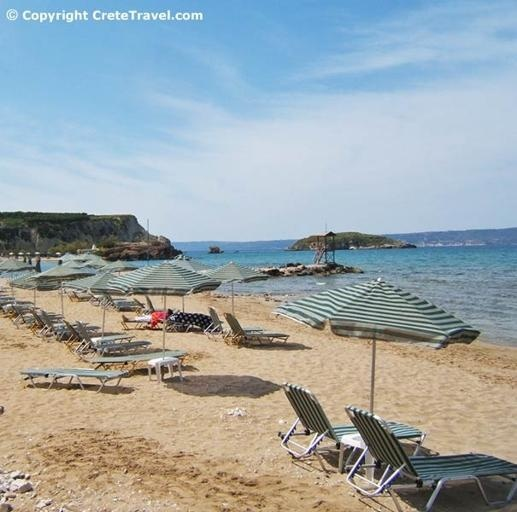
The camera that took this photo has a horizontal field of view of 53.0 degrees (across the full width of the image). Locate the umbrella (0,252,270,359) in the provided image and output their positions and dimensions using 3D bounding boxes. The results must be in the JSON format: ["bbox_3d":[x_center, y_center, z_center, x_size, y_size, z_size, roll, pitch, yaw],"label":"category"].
[{"bbox_3d":[-2.656,0.431,9.527,3.655,0.959,3.051,2,1,13],"label":"umbrella"}]

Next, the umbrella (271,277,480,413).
[{"bbox_3d":[1.207,1.079,5.721,2.035,1.096,1.774,0,6,4],"label":"umbrella"}]
